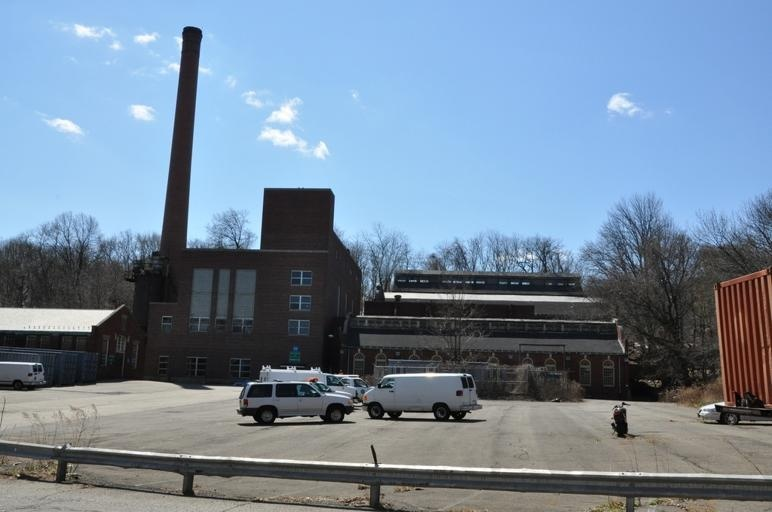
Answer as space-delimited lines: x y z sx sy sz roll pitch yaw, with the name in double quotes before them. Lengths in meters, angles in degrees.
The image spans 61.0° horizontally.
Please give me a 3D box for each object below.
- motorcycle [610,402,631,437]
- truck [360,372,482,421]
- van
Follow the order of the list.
"motorcycle" 10.761 7.286 29.356 0.997 1.630 2.557 -2 -5 16
"truck" 1.973 7.445 36.409 5.166 2.249 2.873 0 -8 15
"van" -4.690 7.679 33.868 5.069 2.044 2.468 -1 -6 -7
